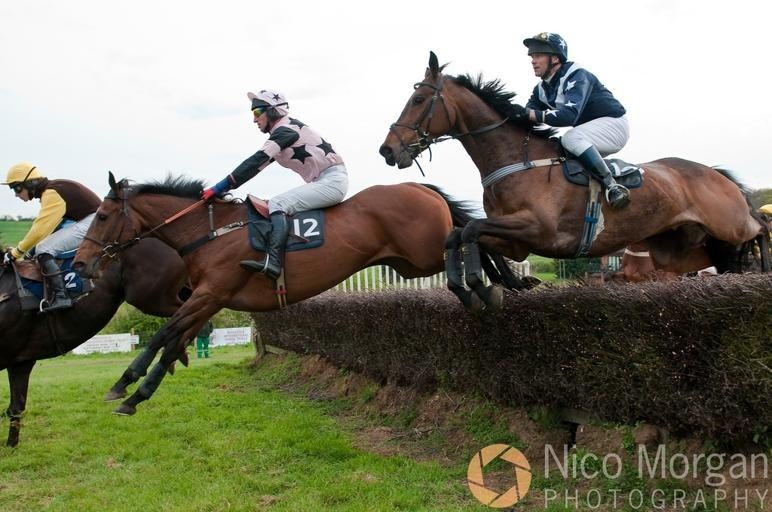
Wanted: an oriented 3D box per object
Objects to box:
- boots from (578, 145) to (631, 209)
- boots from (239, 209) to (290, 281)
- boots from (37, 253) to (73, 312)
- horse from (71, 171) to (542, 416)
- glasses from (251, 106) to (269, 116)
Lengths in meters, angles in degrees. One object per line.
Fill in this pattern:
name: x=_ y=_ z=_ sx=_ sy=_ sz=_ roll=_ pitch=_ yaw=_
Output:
boots: x=1.856 y=-0.663 z=5.495 sx=0.382 sy=0.543 sz=0.184 roll=-1 pitch=9 yaw=42
boots: x=-1.066 y=-0.085 z=5.883 sx=0.228 sy=0.625 sz=0.477 roll=-2 pitch=7 yaw=38
boots: x=-3.300 y=0.259 z=6.419 sx=0.274 sy=0.577 sz=0.212 roll=-10 pitch=7 yaw=-24
horse: x=-0.653 y=-0.064 z=6.295 sx=4.207 sy=1.600 sz=0.627 roll=-8 pitch=8 yaw=-14
glasses: x=-1.228 y=-1.419 z=6.337 sx=0.134 sy=0.101 sz=0.092 roll=14 pitch=-1 yaw=-24
